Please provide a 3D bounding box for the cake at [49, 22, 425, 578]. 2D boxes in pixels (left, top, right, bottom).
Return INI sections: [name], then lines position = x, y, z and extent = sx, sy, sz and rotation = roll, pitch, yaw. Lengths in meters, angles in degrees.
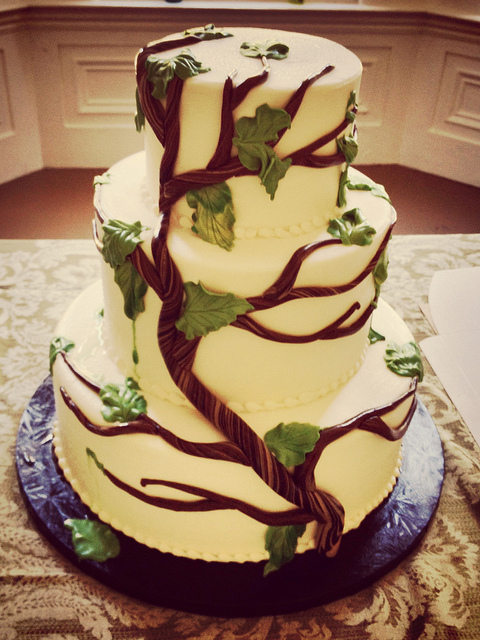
[cake]
position = -0.013, -0.030, 1.736
extent = 1.035, 1.310, 0.792
rotation = 23, 36, 22
